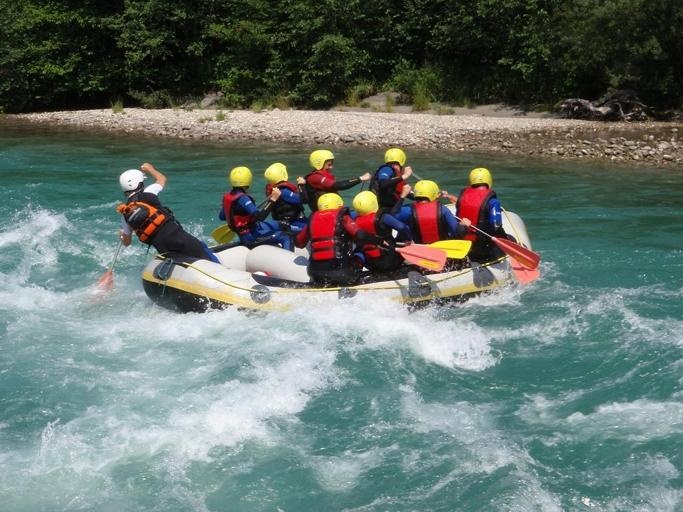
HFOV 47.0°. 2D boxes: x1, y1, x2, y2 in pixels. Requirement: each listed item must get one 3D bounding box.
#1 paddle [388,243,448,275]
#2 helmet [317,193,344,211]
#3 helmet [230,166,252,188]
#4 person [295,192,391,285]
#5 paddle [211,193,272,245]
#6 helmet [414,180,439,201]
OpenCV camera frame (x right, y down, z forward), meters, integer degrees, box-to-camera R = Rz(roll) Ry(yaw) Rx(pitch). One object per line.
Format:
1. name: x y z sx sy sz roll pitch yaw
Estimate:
1. paddle: 1.164 -0.012 11.562 0.745 0.323 0.346 6 19 27
2. helmet: -0.179 -0.792 11.407 0.364 0.245 0.348 -3 16 -2
3. helmet: -1.618 -1.252 12.517 0.313 0.347 0.332 -6 18 -10
4. person: 0.033 -0.232 11.564 2.022 1.031 1.058 5 30 18
5. paddle: -1.649 -0.579 12.923 1.256 0.387 1.088 -26 -5 -13
6. helmet: 1.319 -1.017 11.933 0.383 0.224 0.393 9 17 10
